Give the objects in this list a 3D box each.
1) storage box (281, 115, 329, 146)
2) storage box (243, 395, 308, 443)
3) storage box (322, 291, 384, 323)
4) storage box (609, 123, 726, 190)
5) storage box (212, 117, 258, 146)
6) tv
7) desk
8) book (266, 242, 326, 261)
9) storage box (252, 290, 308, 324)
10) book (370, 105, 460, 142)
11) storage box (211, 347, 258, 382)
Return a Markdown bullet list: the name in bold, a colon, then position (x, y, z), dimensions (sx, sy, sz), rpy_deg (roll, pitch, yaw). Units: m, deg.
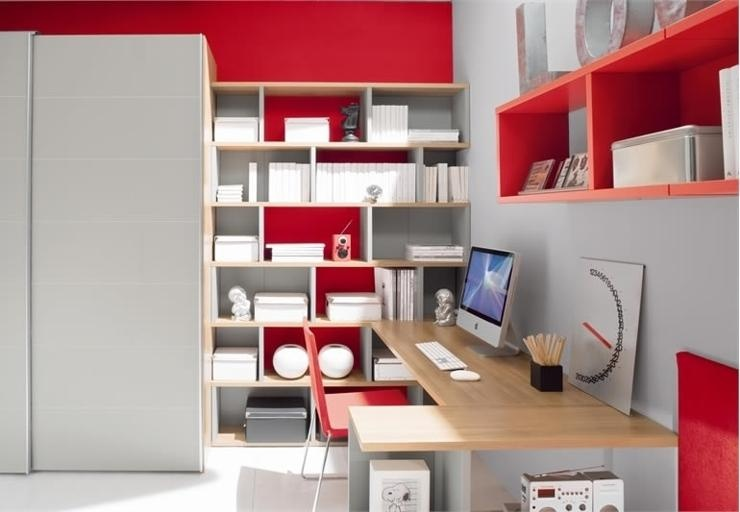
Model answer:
- **storage box**: position (-0.431, -0.865, 4.407), dimensions (0.286, 0.161, 0.129), rpy_deg (-2, 13, -12)
- **storage box**: position (-0.653, 1.137, 4.497), dimensions (0.375, 0.177, 0.281), rpy_deg (1, -5, -3)
- **storage box**: position (-0.105, 0.357, 4.416), dimensions (0.359, 0.163, 0.140), rpy_deg (0, 13, -4)
- **storage box**: position (1.082, -0.358, 2.335), dimensions (0.232, 0.155, 0.329), rpy_deg (-2, 2, -15)
- **storage box**: position (-0.914, -0.866, 4.387), dimensions (0.308, 0.160, 0.079), rpy_deg (-2, 13, -13)
- **tv**: position (0.713, 0.264, 3.606), dimensions (0.227, 0.592, 0.640), rpy_deg (3, 5, -12)
- **desk**: position (0.553, 0.844, 3.176), dimensions (1.311, 0.510, 1.295), rpy_deg (0, 12, -2)
- **book**: position (-0.509, -0.027, 4.411), dimensions (0.382, 0.115, 0.115), rpy_deg (-1, 13, -8)
- **storage box**: position (-0.613, 0.329, 4.454), dimensions (0.310, 0.147, 0.224), rpy_deg (1, 3, -3)
- **book**: position (0.310, -0.921, 4.473), dimensions (0.625, 0.251, 0.117), rpy_deg (0, 12, -2)
- **storage box**: position (-0.928, 0.738, 4.481), dimensions (0.376, 0.171, 0.377), rpy_deg (-4, 14, -21)
